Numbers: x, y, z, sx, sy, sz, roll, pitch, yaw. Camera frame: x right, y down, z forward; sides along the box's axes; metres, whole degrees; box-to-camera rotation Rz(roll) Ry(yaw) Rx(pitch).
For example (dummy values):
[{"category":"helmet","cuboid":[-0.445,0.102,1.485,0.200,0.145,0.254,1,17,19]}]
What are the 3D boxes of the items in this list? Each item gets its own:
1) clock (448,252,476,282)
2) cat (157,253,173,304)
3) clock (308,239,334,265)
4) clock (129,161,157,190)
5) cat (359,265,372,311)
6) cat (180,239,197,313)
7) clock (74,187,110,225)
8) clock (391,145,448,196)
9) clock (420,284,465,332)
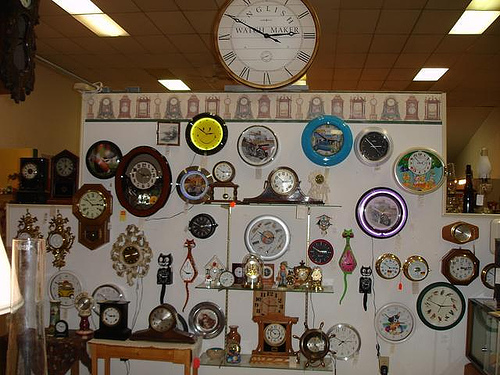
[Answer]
[{"category":"clock","cuboid":[2.495,0.937,6.256,0.294,0.347,0.026,0,-3,2]},{"category":"cat","cuboid":[-1.052,1.122,6.530,0.179,0.614,0.091,1,-4,15]},{"category":"clock","cuboid":[0.856,0.781,6.406,0.263,0.310,0.286,2,0,1]},{"category":"clock","cuboid":[-1.311,-0.141,6.538,0.292,0.342,0.040,-2,2,8]},{"category":"cat","cuboid":[1.386,1.208,6.372,0.145,0.531,0.052,1,-4,11]},{"category":"cat","cuboid":[-0.752,1.060,6.447,0.167,0.836,0.167,1,1,-9]},{"category":"clock","cuboid":[-1.937,0.219,6.485,0.391,0.488,0.060,1,-3,1]},{"category":"clock","cuboid":[2.040,-0.197,6.301,0.649,0.752,0.095,-1,-35,21]},{"category":"clock","cuboid":[2.309,1.436,6.307,0.498,0.587,0.055,0,-5,2]}]
